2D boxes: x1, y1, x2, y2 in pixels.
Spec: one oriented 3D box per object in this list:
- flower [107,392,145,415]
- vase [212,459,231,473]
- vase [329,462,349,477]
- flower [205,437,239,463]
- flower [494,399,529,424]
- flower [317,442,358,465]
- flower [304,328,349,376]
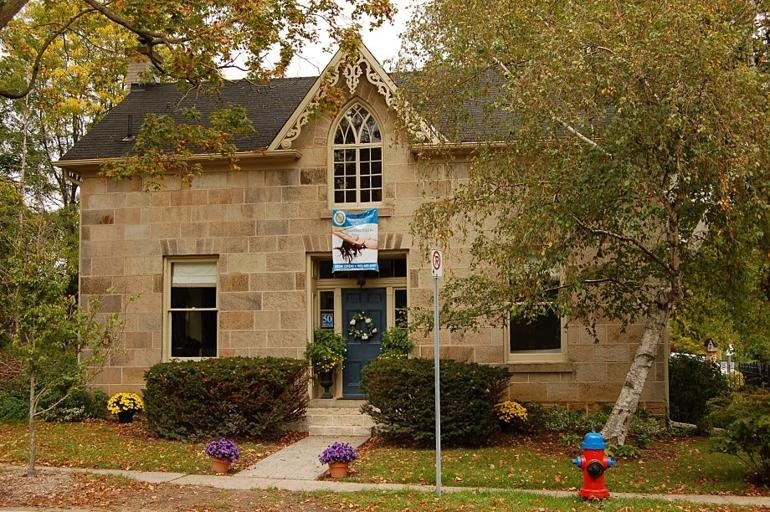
[{"bbox_3d":[-7.262,4.143,27.998,0.806,0.590,0.737,-4,-4,35],"label":"flower"},{"bbox_3d":[-3.813,4.973,23.620,0.311,0.246,0.318,11,-16,-27],"label":"vase"},{"bbox_3d":[-1.058,4.976,23.315,0.352,0.237,0.370,0,-14,0],"label":"vase"},{"bbox_3d":[-3.819,4.611,23.742,0.649,0.476,0.589,7,-6,-24],"label":"flower"},{"bbox_3d":[3.308,4.136,26.686,0.572,0.382,0.608,5,-2,-17],"label":"flower"},{"bbox_3d":[-1.103,4.644,23.408,0.603,0.380,0.652,5,-13,-23],"label":"flower"},{"bbox_3d":[-1.738,2.717,28.587,1.301,1.405,1.106,3,-6,-28],"label":"flower"}]
